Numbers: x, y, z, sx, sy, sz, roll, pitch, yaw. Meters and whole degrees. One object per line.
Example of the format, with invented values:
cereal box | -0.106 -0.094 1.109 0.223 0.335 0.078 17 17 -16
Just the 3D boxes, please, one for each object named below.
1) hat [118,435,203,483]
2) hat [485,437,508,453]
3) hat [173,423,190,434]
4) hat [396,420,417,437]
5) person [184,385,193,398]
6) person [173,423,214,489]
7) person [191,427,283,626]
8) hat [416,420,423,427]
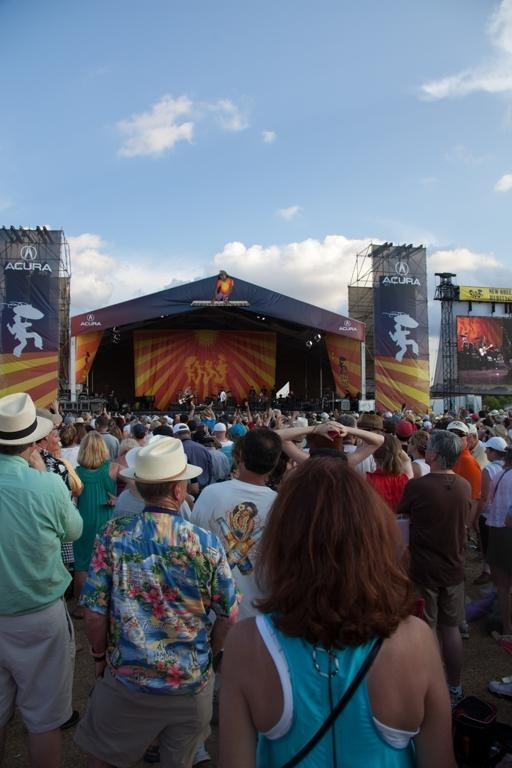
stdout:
hat | -0.289 0.246 2.035 0.194 0.074 0.204 7 15 23
hat | 1.876 0.468 4.920 0.110 0.085 0.158 5 5 -23
hat | -0.707 0.422 6.000 0.147 0.070 0.202 2 -3 -11
hat | 1.165 0.361 4.918 0.125 0.096 0.172 6 17 15
person | -2.934 0.334 26.755 0.312 0.404 0.751 6 14 -3
person | -0.556 0.601 5.639 0.522 0.245 0.706 1 7 -9
person | -0.054 0.679 2.771 0.422 1.016 0.366 13 28 11
hat | 2.033 0.485 7.827 0.127 0.057 0.165 0 8 4
